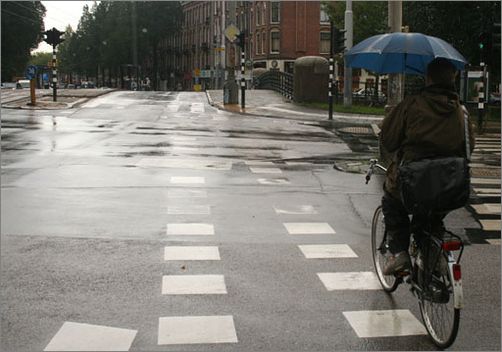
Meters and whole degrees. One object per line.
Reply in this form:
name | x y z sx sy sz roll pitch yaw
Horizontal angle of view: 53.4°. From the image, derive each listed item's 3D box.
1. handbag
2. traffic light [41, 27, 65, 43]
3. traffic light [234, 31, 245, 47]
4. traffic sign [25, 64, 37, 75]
handbag | 1.535 0.139 4.089 0.535 0.546 0.358 -9 -32 31
traffic light | -12.302 -8.654 30.974 1.076 1.070 1.554 -3 10 -22
traffic light | -0.743 -8.682 31.660 0.606 1.056 1.591 1 10 -2
traffic sign | -14.273 -6.809 32.321 0.620 0.702 1.210 -3 11 -24
